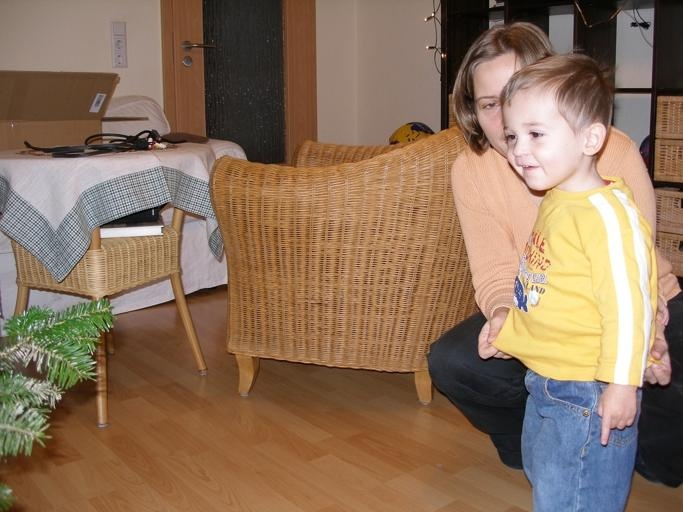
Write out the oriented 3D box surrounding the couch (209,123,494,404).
[{"bbox_3d":[0.155,-0.022,2.026,0.864,0.798,0.752,2,11,17],"label":"couch"}]
